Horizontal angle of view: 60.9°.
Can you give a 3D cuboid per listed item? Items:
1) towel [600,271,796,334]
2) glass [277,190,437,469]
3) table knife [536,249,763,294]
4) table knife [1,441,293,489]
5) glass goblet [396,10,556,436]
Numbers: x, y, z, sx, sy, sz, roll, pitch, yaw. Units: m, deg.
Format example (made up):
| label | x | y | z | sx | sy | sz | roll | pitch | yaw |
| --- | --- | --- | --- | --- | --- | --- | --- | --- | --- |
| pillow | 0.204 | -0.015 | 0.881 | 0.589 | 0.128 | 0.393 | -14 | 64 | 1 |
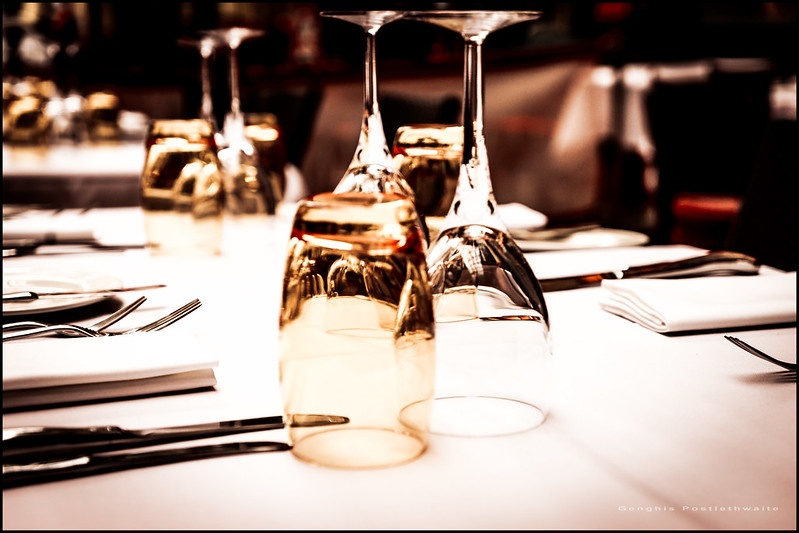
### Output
| label | x | y | z | sx | sy | sz | roll | pitch | yaw |
| --- | --- | --- | --- | --- | --- | --- | --- | --- | --- |
| towel | 0.343 | 0.038 | 0.741 | 0.127 | 0.023 | 0.095 | -4 | 10 | -13 |
| glass | -0.030 | 0.047 | 0.494 | 0.110 | 0.190 | 0.054 | -2 | 11 | -7 |
| table knife | 0.313 | 0.015 | 0.928 | 0.030 | 0.035 | 0.364 | -23 | 8 | -37 |
| table knife | -0.179 | 0.141 | 0.494 | 0.196 | 0.011 | 0.022 | -3 | 9 | -14 |
| glass goblet | 0.073 | -0.035 | 0.606 | 0.166 | 0.347 | 0.149 | -1 | 9 | 18 |
